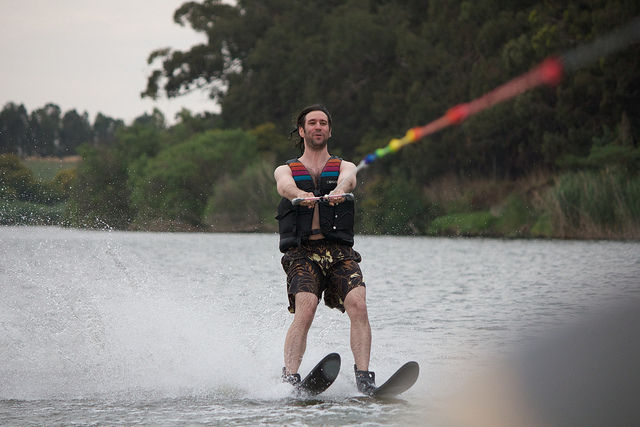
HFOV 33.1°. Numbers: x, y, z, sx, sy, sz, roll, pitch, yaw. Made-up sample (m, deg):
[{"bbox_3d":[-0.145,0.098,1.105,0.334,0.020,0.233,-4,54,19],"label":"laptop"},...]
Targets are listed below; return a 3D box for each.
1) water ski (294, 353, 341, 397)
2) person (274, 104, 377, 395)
[{"bbox_3d":[-0.009,2.378,15.871,0.578,0.646,0.243,1,-2,-2],"label":"water ski"},{"bbox_3d":[0.031,0.504,16.125,1.428,4.361,0.634,1,-2,-3],"label":"person"}]
